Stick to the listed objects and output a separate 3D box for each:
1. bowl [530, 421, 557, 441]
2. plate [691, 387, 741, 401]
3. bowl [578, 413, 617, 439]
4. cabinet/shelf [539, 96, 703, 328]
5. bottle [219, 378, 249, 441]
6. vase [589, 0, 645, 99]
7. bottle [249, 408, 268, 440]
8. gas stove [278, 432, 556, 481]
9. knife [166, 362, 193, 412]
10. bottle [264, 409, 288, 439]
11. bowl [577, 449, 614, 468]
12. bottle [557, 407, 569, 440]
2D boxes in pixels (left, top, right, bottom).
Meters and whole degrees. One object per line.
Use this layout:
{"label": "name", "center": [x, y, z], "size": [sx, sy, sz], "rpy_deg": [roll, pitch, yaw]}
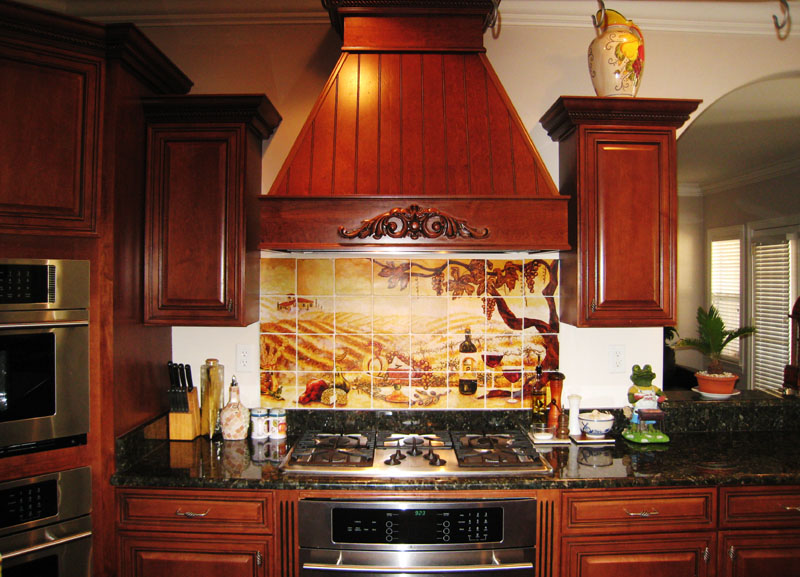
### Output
{"label": "bowl", "center": [0.769, 0.755, 3.827], "size": [0.082, 0.042, 0.102], "rpy_deg": [2, 3, 43]}
{"label": "plate", "center": [1.852, 0.605, 4.136], "size": [0.291, 0.066, 0.219], "rpy_deg": [0, -5, 6]}
{"label": "bowl", "center": [1.095, 0.724, 3.879], "size": [0.262, 0.140, 0.149], "rpy_deg": [4, -6, -38]}
{"label": "cabinet/shelf", "center": [1.134, -0.379, 3.746], "size": [0.730, 1.148, 0.372], "rpy_deg": [1, -5, -2]}
{"label": "bottle", "center": [-0.896, 0.654, 3.877], "size": [0.157, 0.322, 0.118], "rpy_deg": [1, -5, -11]}
{"label": "vase", "center": [1.124, -1.204, 3.715], "size": [0.286, 0.494, 0.156], "rpy_deg": [2, -5, -19]}
{"label": "bottle", "center": [-0.763, 0.732, 3.876], "size": [0.098, 0.166, 0.108], "rpy_deg": [1, -5, -12]}
{"label": "gas stove", "center": [0.078, 0.835, 3.655], "size": [1.311, 0.180, 0.497], "rpy_deg": [0, -5, -1]}
{"label": "knife", "center": [-1.198, 0.526, 3.857], "size": [0.190, 0.260, 0.128], "rpy_deg": [0, -5, 9]}
{"label": "bottle", "center": [-0.666, 0.727, 3.846], "size": [0.102, 0.150, 0.153], "rpy_deg": [2, -8, -16]}
{"label": "bowl", "center": [0.982, 0.850, 3.602], "size": [0.166, 0.059, 0.207], "rpy_deg": [-1, -5, 16]}
{"label": "bottle", "center": [0.887, 0.725, 3.887], "size": [0.060, 0.133, 0.202], "rpy_deg": [-1, -5, 17]}
